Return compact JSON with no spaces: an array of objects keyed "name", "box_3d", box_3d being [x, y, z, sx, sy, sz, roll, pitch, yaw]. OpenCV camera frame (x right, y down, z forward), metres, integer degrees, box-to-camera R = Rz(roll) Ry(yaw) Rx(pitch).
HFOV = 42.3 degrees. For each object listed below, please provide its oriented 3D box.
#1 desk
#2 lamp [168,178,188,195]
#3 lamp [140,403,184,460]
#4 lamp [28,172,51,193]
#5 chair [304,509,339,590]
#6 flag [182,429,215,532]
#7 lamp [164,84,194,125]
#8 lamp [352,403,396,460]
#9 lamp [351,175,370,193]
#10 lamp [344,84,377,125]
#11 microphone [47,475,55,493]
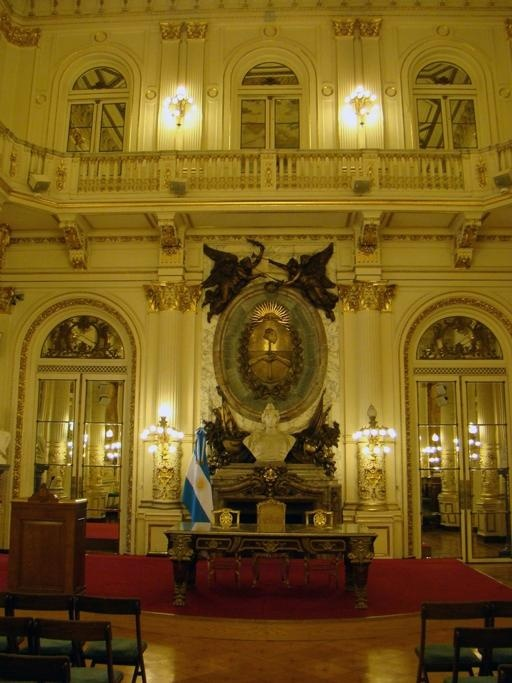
[{"name":"desk","box_3d":[0.156,2.445,7.362,2.184,0.783,1.278,0,-12,-1]},{"name":"lamp","box_3d":[-1.190,-2.415,10.301,0.256,0.221,0.146,2,15,5]},{"name":"lamp","box_3d":[-1.589,1.422,10.446,0.827,0.927,0.783,-1,-8,5]},{"name":"lamp","box_3d":[-3.346,-2.474,10.207,0.314,0.295,0.266,5,-13,-23]},{"name":"chair","box_3d":[0.727,2.434,7.806,0.590,0.846,0.612,-3,-24,6]},{"name":"flag","box_3d":[-0.826,1.870,9.340,0.395,1.291,0.413,1,-13,-5]},{"name":"lamp","box_3d":[-1.338,-4.167,11.533,0.480,0.835,0.232,1,-13,-6]},{"name":"lamp","box_3d":[1.841,1.390,10.367,0.604,0.674,0.566,2,-7,-41]},{"name":"lamp","box_3d":[1.625,-2.416,10.215,0.270,0.173,0.300,-1,-12,6]},{"name":"lamp","box_3d":[1.825,-4.096,11.375,0.554,0.767,0.226,-2,-13,6]},{"name":"microphone","box_3d":[-3.342,2.336,10.825,0.118,0.279,0.243,3,-13,-16]}]
